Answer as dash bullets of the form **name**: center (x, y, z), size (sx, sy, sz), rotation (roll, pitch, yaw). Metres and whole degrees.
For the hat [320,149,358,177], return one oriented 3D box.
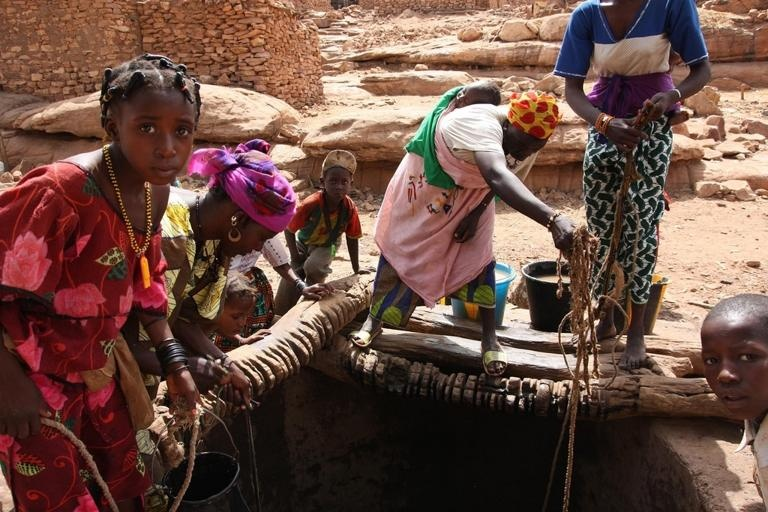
- **hat**: center (-0.353, -0.750, 5.551), size (0.268, 0.275, 0.149), rotation (2, 10, -10)

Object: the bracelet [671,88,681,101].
- **bracelet**: center (1.814, -1.004, 4.280), size (0.021, 0.070, 0.076), rotation (-12, -2, 4)

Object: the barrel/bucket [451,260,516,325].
- **barrel/bucket**: center (0.806, 0.280, 5.583), size (0.533, 0.367, 0.517), rotation (-1, 7, 0)

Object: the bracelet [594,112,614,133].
- **bracelet**: center (1.360, -0.832, 4.333), size (0.115, 0.086, 0.136), rotation (-3, -4, -12)

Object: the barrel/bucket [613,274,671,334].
- **barrel/bucket**: center (1.803, 0.352, 4.851), size (0.404, 0.298, 0.404), rotation (-4, 11, 1)

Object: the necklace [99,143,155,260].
- **necklace**: center (-1.157, -0.231, 3.162), size (0.090, 0.462, 0.299), rotation (-4, 2, 25)

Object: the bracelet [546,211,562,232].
- **bracelet**: center (0.894, -0.178, 3.643), size (0.081, 0.098, 0.039), rotation (30, 13, 10)

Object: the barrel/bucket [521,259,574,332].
- **barrel/bucket**: center (1.317, 0.330, 5.546), size (0.558, 0.441, 0.567), rotation (0, 6, 0)

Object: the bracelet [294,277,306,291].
- **bracelet**: center (-0.627, 0.221, 5.207), size (0.075, 0.036, 0.096), rotation (39, 3, -21)

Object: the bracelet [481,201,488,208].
- **bracelet**: center (0.674, -0.344, 4.617), size (0.036, 0.024, 0.034), rotation (-1, 5, -20)
